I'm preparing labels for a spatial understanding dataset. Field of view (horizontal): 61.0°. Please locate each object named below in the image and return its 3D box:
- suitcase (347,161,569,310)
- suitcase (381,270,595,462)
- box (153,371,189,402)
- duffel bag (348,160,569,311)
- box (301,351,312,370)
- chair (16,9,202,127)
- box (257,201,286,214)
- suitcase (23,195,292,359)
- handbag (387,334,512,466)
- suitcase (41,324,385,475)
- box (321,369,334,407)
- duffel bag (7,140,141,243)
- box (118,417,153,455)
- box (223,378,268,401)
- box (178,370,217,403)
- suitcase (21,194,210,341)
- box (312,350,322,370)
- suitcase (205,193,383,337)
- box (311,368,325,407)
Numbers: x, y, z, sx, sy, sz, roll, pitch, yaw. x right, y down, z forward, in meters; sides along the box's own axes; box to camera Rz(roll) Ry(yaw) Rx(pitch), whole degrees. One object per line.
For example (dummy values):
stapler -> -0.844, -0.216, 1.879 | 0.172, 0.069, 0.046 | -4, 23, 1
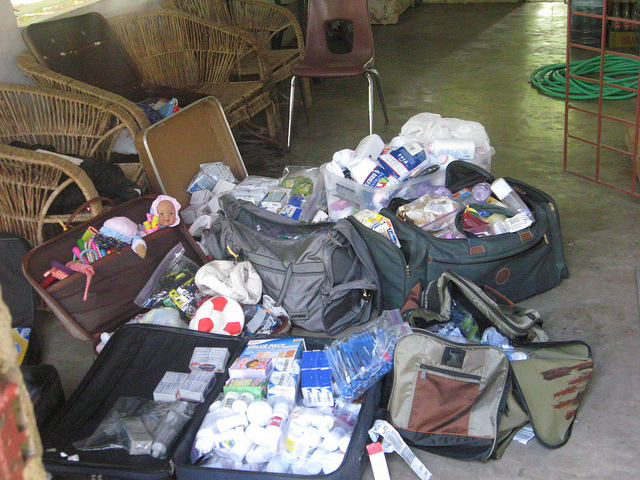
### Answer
suitcase -> 0.569, 0.017, 2.163 | 0.882, 0.300, 0.549 | -9, 32, -6
suitcase -> 0.555, 0.399, 1.778 | 0.577, 0.377, 0.612 | 10, 38, 24
box -> -0.494, 0.491, 1.822 | 0.107, 0.052, 0.092 | 5, 37, 22
duffel bag -> 0.580, 0.033, 2.195 | 0.908, 0.366, 0.509 | -14, 40, -8
box -> -0.045, 0.404, 1.826 | 0.048, 0.019, 0.088 | -2, 33, 12
chair -> -1.203, -0.987, 2.982 | 1.070, 0.378, 0.756 | 28, 39, 20
box -> -0.228, -0.144, 2.546 | 0.090, 0.022, 0.045 | 6, 70, 10
suitcase -> -0.605, 0.182, 2.110 | 0.886, 0.267, 0.586 | 18, 49, 30
handbag -> 0.464, 0.535, 1.839 | 0.169, 0.538, 0.538 | 17, 51, 35
suitcase -> -0.313, 0.528, 1.786 | 0.991, 0.196, 0.611 | 2, 33, 13
box -> 0.021, 0.479, 1.749 | 0.061, 0.106, 0.145 | -1, -1, -3
duffel bag -> -1.086, -0.198, 2.367 | 0.472, 0.285, 0.594 | 25, 31, 36
box -> -0.573, 0.600, 1.685 | 0.098, 0.033, 0.123 | 4, 20, -36
box -> -0.244, 0.474, 1.761 | 0.102, 0.051, 0.082 | 4, 16, 13
box -> -0.410, 0.482, 1.821 | 0.093, 0.033, 0.103 | 11, 35, 15
suitcase -> -0.821, 0.111, 2.234 | 0.634, 0.388, 0.346 | -32, 42, -31
box -> -0.013, 0.402, 1.824 | 0.047, 0.018, 0.086 | 0, 24, 9
suitcase -> -0.101, 0.128, 2.383 | 0.913, 0.472, 0.591 | -3, 28, -8
box -> -0.007, 0.480, 1.749 | 0.043, 0.099, 0.080 | -8, 56, 1
